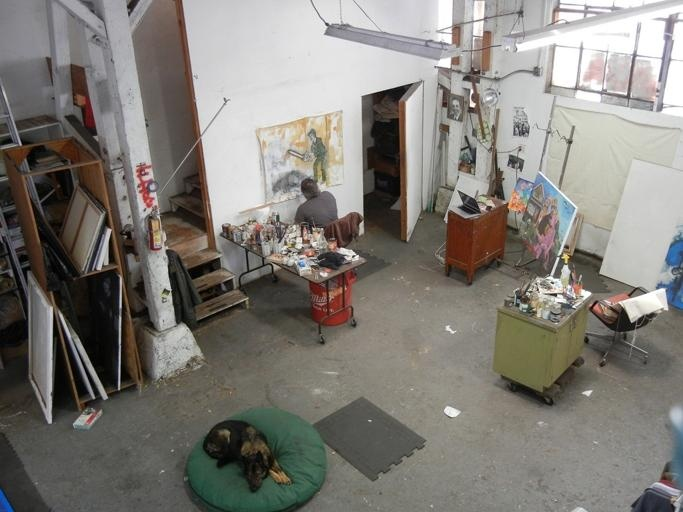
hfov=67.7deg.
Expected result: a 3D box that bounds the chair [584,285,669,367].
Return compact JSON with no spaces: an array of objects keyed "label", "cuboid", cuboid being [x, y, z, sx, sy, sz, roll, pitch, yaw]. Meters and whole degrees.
[{"label":"chair","cuboid":[3.923,0.847,7.110,0.985,1.131,0.976,9,33,37]}]

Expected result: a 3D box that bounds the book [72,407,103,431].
[{"label":"book","cuboid":[-3.129,1.997,6.272,0.258,0.073,0.347,6,31,18]}]

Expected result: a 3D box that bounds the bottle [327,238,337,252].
[{"label":"bottle","cuboid":[-0.154,-0.156,7.711,0.116,0.198,0.116,-3,37,2]}]

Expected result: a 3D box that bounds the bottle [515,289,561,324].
[{"label":"bottle","cuboid":[2.396,0.605,6.196,0.407,0.135,0.436,-4,23,2]}]

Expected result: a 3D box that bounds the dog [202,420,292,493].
[{"label":"dog","cuboid":[-1.004,2.094,5.384,1.005,0.425,0.526,23,39,40]}]

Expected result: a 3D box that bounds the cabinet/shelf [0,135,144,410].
[{"label":"cabinet/shelf","cuboid":[-3.402,0.094,6.580,1.106,3.076,1.843,-19,32,-27]}]

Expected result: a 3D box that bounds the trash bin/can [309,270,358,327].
[{"label":"trash bin/can","cuboid":[-0.189,0.569,7.878,0.676,0.812,0.664,-7,13,-24]}]

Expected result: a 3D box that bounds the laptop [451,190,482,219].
[{"label":"laptop","cuboid":[2.158,-0.808,8.526,0.521,0.408,0.366,29,38,35]}]

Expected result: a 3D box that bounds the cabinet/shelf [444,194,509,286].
[{"label":"cabinet/shelf","cuboid":[2.286,-0.216,8.619,0.617,1.151,1.079,20,37,35]}]
